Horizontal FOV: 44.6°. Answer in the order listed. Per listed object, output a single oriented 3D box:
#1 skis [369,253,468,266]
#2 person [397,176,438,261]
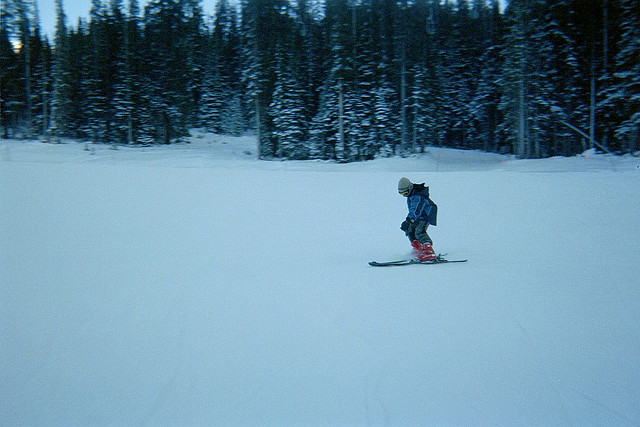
[{"bbox_3d":[1.831,0.858,14.244,1.822,0.170,0.174,-1,-24,9],"label":"skis"},{"bbox_3d":[1.785,0.109,14.241,0.738,1.499,0.343,1,8,6],"label":"person"}]
